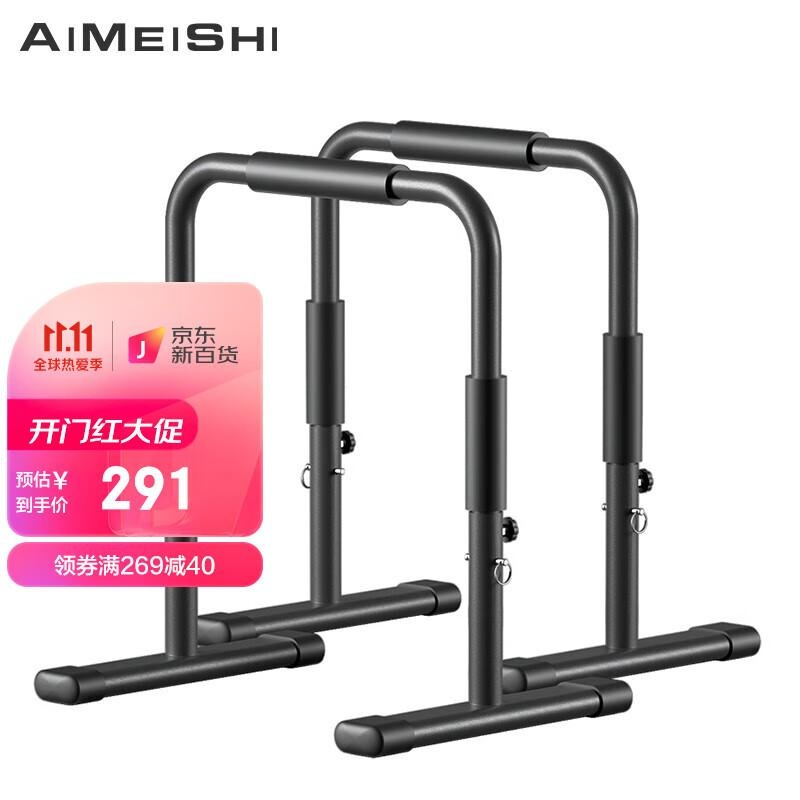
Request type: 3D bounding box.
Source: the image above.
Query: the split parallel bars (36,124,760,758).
[{"bbox_3d":[-0.017,0.123,2.785,1.483,1.316,1.839,1,-1,44],"label":"split parallel bars"}]
